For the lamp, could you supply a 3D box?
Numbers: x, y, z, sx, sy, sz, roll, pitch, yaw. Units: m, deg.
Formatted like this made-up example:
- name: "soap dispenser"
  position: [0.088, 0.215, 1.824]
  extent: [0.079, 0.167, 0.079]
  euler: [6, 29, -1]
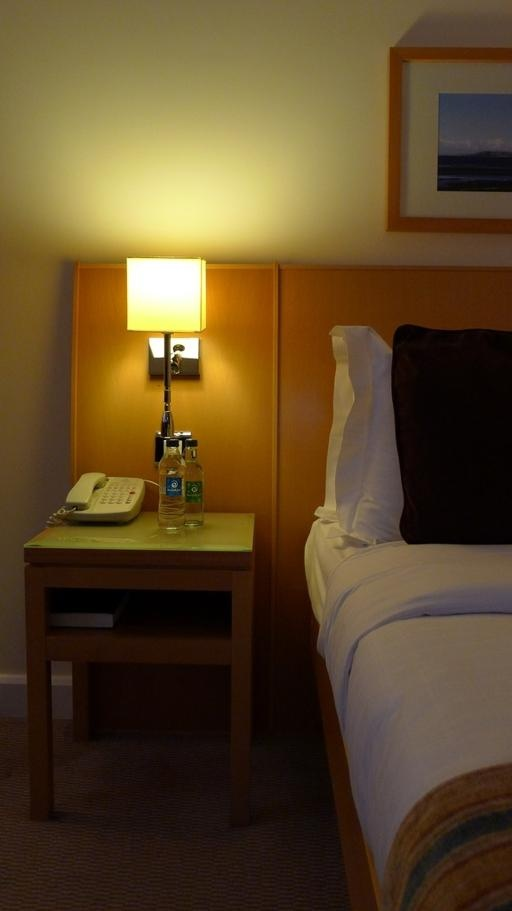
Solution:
- name: "lamp"
  position: [-0.222, -0.240, 1.804]
  extent: [0.192, 0.531, 0.239]
  euler: [0, 2, -5]

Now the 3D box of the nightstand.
- name: "nightstand"
  position: [-0.216, 0.418, 1.838]
  extent: [0.509, 0.795, 0.590]
  euler: [0, 5, 2]
